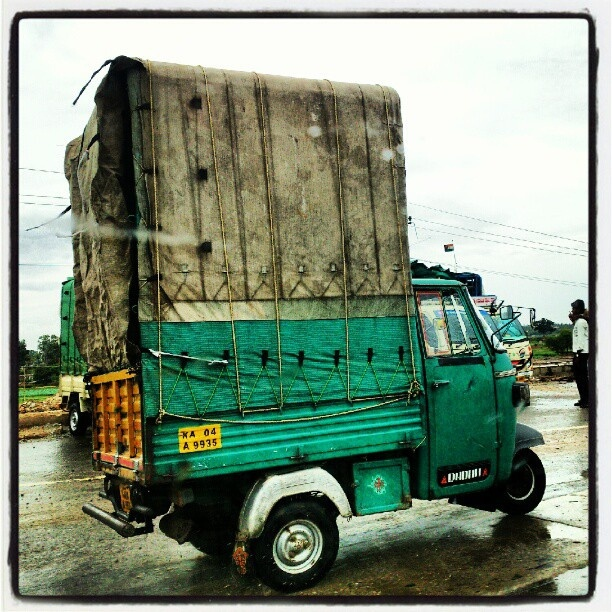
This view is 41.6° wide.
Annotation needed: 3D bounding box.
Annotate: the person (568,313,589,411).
[{"bbox_3d":[4.889,0.960,14.390,0.269,1.836,1.042,-2,0,18],"label":"person"}]
